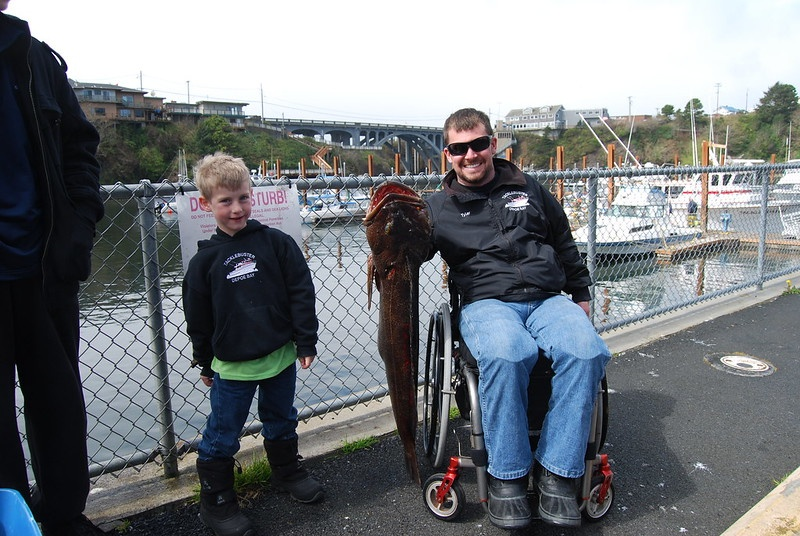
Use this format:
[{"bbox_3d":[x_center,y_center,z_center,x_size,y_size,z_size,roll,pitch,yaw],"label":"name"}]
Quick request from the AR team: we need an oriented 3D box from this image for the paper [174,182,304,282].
[{"bbox_3d":[-1.153,-0.259,4.579,0.691,0.519,0.009,-6,-7,-34],"label":"paper"}]

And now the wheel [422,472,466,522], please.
[{"bbox_3d":[0.298,1.570,4.498,0.285,0.326,0.106,7,15,30],"label":"wheel"}]

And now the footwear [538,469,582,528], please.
[{"bbox_3d":[1.009,1.453,4.147,0.252,0.293,0.206,-1,13,10],"label":"footwear"}]

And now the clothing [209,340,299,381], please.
[{"bbox_3d":[-0.994,0.595,4.470,0.347,0.200,0.291,-2,1,-2],"label":"clothing"}]

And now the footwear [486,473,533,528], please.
[{"bbox_3d":[0.698,1.564,4.211,0.269,0.441,0.252,-2,13,6],"label":"footwear"}]

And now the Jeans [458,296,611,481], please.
[{"bbox_3d":[0.937,0.771,4.667,0.793,1.143,1.155,-3,7,-2],"label":"Jeans"}]

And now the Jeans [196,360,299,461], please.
[{"bbox_3d":[-1.066,1.011,4.593,0.293,0.875,0.771,7,8,42],"label":"Jeans"}]

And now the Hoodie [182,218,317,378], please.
[{"bbox_3d":[-1.054,0.200,4.458,0.915,1.139,0.454,-13,2,-14],"label":"Hoodie"}]

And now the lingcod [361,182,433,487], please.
[{"bbox_3d":[-0.068,0.378,4.464,0.388,1.825,0.464,0,1,-22],"label":"lingcod"}]

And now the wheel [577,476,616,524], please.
[{"bbox_3d":[1.311,1.559,4.383,0.283,0.290,0.096,40,-25,-30],"label":"wheel"}]

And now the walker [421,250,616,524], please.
[{"bbox_3d":[1.145,0.939,5.056,1.333,2.190,1.599,1,-1,-3],"label":"walker"}]

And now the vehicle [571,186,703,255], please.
[{"bbox_3d":[6.630,-1.322,18.973,1.808,1.743,4.792,-19,-18,33],"label":"vehicle"}]
